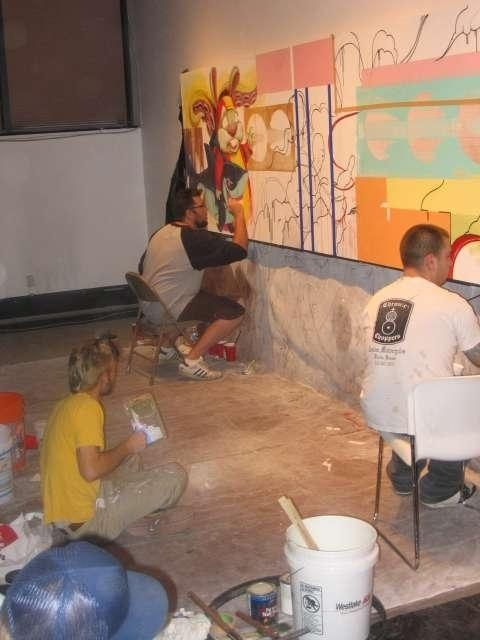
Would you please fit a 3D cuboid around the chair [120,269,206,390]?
[{"bbox_3d":[-0.613,0.030,4.235,0.502,0.822,0.624,9,14,31],"label":"chair"}]

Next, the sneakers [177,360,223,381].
[{"bbox_3d":[-0.304,0.378,4.067,0.351,0.183,0.141,3,18,2],"label":"sneakers"}]

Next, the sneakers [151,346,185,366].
[{"bbox_3d":[-0.636,0.308,4.427,0.209,0.126,0.129,0,-4,-30],"label":"sneakers"}]

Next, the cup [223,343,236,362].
[{"bbox_3d":[-0.083,0.277,4.356,0.108,0.137,0.127,-1,-1,29],"label":"cup"}]

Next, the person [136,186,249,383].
[{"bbox_3d":[-0.368,-0.313,4.231,0.820,1.476,0.655,-3,6,-12],"label":"person"}]

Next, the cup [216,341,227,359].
[{"bbox_3d":[-0.151,0.245,4.479,0.108,0.184,0.139,2,4,-1],"label":"cup"}]
